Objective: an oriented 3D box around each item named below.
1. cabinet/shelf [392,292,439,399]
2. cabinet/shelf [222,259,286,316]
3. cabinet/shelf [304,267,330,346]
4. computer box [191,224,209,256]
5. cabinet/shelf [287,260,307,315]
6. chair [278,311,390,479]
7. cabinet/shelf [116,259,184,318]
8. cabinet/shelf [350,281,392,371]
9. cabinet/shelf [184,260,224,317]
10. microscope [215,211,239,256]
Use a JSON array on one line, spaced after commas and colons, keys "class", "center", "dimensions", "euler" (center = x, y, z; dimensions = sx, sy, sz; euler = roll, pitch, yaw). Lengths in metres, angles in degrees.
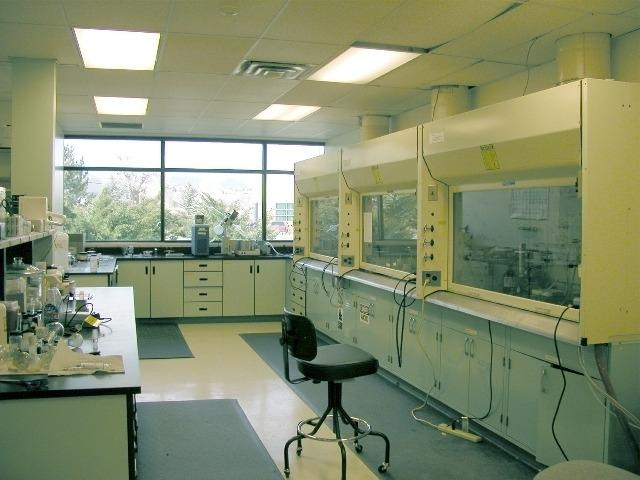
[{"class": "cabinet/shelf", "center": [0.839, 0.895, 4.747], "dimensions": [0.339, 0.798, 0.941], "euler": [1, 0, -10]}, {"class": "cabinet/shelf", "center": [-0.955, 0.657, 7.667], "dimensions": [0.789, 0.685, 0.299], "euler": [0, -2, -15]}, {"class": "cabinet/shelf", "center": [-0.008, 0.726, 6.135], "dimensions": [0.303, 0.861, 0.925], "euler": [0, 0, -13]}, {"class": "computer box", "center": [-1.670, 0.000, 7.758], "dimensions": [0.242, 0.427, 0.239], "euler": [-1, 8, -12]}, {"class": "cabinet/shelf", "center": [-0.287, 0.618, 7.212], "dimensions": [0.236, 0.679, 0.702], "euler": [0, 1, -14]}, {"class": "chair", "center": [0.054, 1.038, 4.329], "dimensions": [0.978, 1.398, 1.018], "euler": [-1, 0, -4]}, {"class": "cabinet/shelf", "center": [-2.230, 0.600, 7.703], "dimensions": [1.196, 1.107, 0.673], "euler": [0, -1, -13]}, {"class": "cabinet/shelf", "center": [0.495, 0.788, 5.116], "dimensions": [0.311, 0.769, 0.888], "euler": [1, -1, -15]}, {"class": "cabinet/shelf", "center": [-1.584, 0.660, 7.526], "dimensions": [0.505, 0.749, 0.153], "euler": [0, 7, -3]}, {"class": "microscope", "center": [-1.364, -0.126, 8.106], "dimensions": [0.321, 0.600, 0.555], "euler": [-1, 7, -10]}]
